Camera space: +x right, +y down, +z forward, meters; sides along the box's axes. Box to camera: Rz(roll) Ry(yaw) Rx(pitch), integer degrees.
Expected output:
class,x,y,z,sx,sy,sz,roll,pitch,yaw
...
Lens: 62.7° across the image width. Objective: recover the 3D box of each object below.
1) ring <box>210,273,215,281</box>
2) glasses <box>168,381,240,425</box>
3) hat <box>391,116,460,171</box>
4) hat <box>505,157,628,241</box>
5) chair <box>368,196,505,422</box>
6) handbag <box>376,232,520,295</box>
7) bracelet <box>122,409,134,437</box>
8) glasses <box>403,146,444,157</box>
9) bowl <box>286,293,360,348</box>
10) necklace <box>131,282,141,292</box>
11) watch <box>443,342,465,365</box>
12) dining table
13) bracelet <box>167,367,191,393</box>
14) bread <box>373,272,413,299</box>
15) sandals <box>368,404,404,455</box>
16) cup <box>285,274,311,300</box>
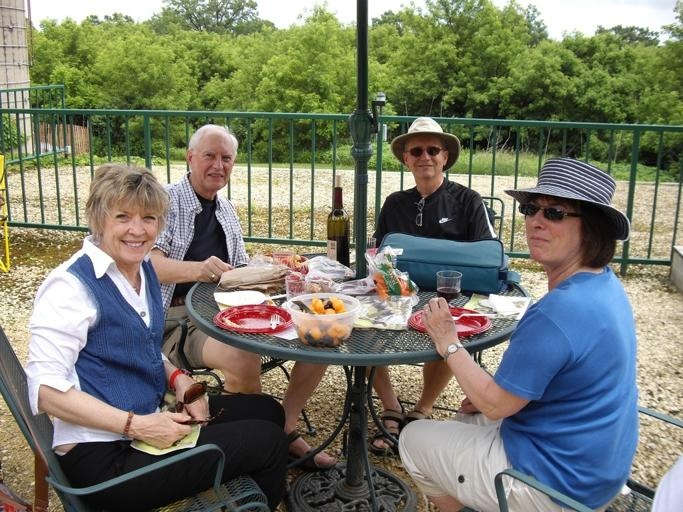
class,x,y,z,sx,sy,sz,roll,pitch,yaw
ring,-0.735,0.110,3.179,0.025,0.024,0.006,12,2,16
glasses,-0.659,0.679,2.553,0.168,0.094,0.224,38,38,-7
hat,0.646,-0.849,4.059,0.356,0.183,0.494,0,-21,7
hat,0.947,-0.271,2.357,0.367,0.193,0.381,14,-7,5
chair,0.615,0.271,3.790,0.791,1.508,0.429,1,3,32
handbag,0.604,0.005,3.049,0.557,0.206,0.332,2,8,13
bracelet,-0.859,0.676,2.261,0.022,0.072,0.073,22,38,-9
glasses,0.569,-0.712,3.790,0.207,0.074,0.051,1,8,11
bowl,-0.083,0.272,2.466,0.320,0.188,0.315,0,7,0
necklace,-0.941,0.135,2.572,0.040,0.038,0.009,2,-11,-36
watch,0.459,0.391,2.330,0.073,0.073,0.070,46,2,5
dining table,-0.018,0.587,3.081,1.492,1.007,1.505,0,13,-2
bracelet,-0.813,0.600,2.789,0.101,0.089,0.049,-24,-4,-33
bread,0.255,0.141,2.759,0.137,0.060,0.138,7,26,-9
sandals,0.264,1.129,3.499,0.138,0.155,0.422,0,2,22
cup,-0.230,0.140,2.779,0.115,0.135,0.115,2,10,0
